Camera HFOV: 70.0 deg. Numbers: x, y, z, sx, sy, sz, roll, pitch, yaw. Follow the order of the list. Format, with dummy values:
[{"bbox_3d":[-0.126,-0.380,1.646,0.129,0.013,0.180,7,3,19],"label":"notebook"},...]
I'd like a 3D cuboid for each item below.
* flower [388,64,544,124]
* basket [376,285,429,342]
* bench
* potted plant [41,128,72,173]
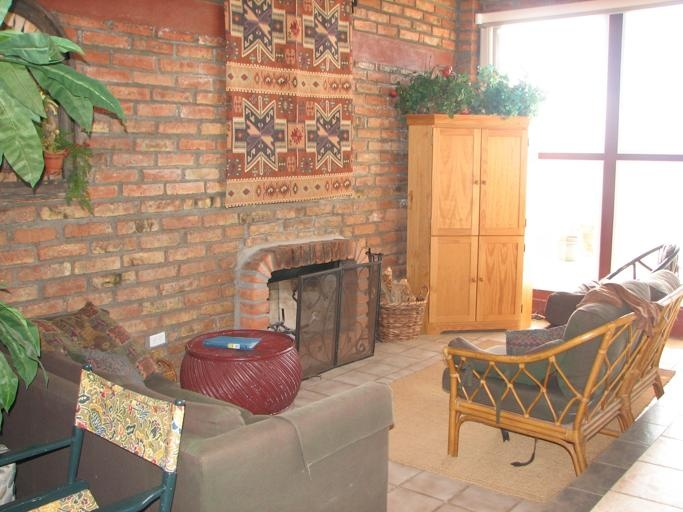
[{"bbox_3d":[1.579,-1.877,5.578,1.463,0.462,1.509,-13,19,-35],"label":"flower"},{"bbox_3d":[0.634,0.705,5.338,0.515,0.372,0.518,-2,-3,7],"label":"basket"},{"bbox_3d":[1.482,0.685,2.966,1.567,1.125,0.740,-6,11,-28],"label":"bench"},{"bbox_3d":[-1.741,-0.610,2.947,0.158,0.224,0.151,-7,21,-43],"label":"potted plant"}]
